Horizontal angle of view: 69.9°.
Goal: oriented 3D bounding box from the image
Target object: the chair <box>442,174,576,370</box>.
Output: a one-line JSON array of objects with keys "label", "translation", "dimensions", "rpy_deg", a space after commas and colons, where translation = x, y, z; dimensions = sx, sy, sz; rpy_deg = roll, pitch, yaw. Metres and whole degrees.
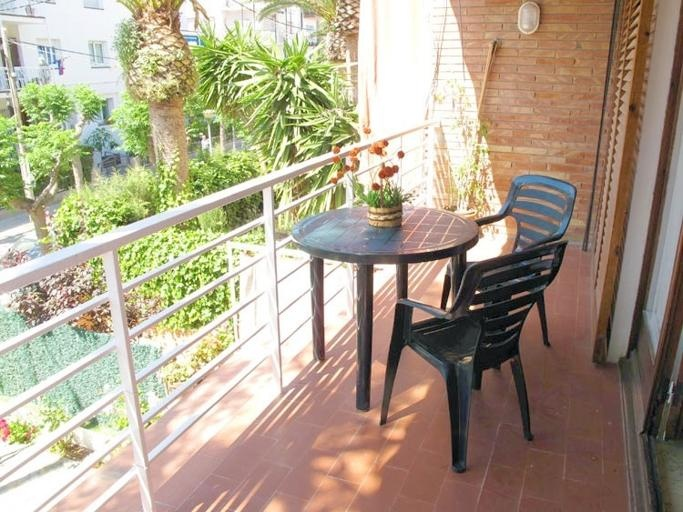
[{"label": "chair", "translation": [1.055, 0.214, 3.268], "dimensions": [0.681, 1.155, 0.799], "rpy_deg": [-21, 40, -3]}]

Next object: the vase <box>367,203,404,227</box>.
[{"label": "vase", "translation": [0.251, -0.244, 2.727], "dimensions": [0.131, 0.089, 0.140], "rpy_deg": [6, 15, 26]}]

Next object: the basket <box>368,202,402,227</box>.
[{"label": "basket", "translation": [0.239, -0.244, 2.733], "dimensions": [0.130, 0.088, 0.139], "rpy_deg": [5, 14, 23]}]

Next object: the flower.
[{"label": "flower", "translation": [0.180, -0.430, 2.753], "dimensions": [0.316, 0.363, 0.343], "rpy_deg": [-4, 23, 37]}]

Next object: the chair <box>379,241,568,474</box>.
[{"label": "chair", "translation": [0.619, 0.412, 2.475], "dimensions": [0.706, 1.142, 0.806], "rpy_deg": [-7, 18, -7]}]
